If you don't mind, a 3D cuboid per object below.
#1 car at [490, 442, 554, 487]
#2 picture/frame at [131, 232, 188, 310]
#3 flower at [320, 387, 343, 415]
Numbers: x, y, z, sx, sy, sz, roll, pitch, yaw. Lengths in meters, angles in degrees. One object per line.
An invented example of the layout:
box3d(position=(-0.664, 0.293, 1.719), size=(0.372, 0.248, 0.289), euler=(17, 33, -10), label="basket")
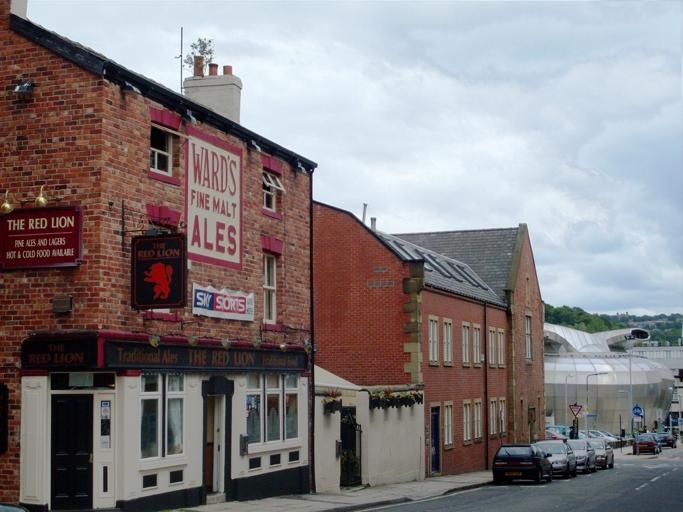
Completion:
box3d(position=(6.928, 8.134, 45.916), size=(1.889, 1.606, 2.358), euler=(-6, -11, 25), label="car")
box3d(position=(-4.730, 0.425, 30.413), size=(1.693, 2.442, 0.327), euler=(-2, -6, 19), label="picture/frame")
box3d(position=(-0.361, 4.886, 39.501), size=(0.775, 0.854, 0.764), euler=(2, -19, -6), label="flower")
